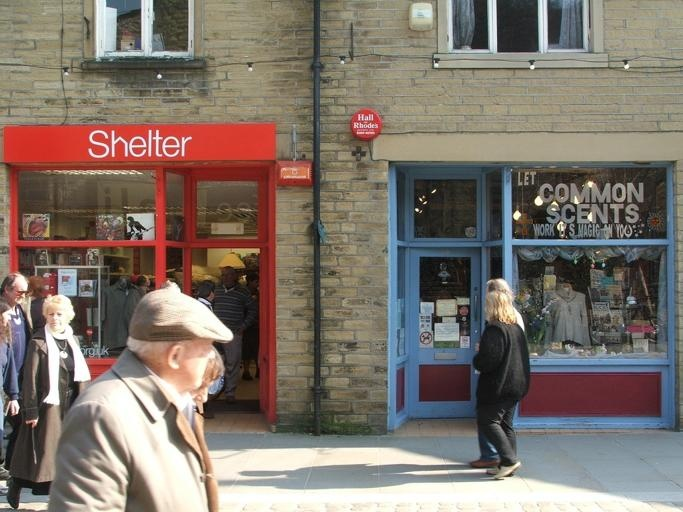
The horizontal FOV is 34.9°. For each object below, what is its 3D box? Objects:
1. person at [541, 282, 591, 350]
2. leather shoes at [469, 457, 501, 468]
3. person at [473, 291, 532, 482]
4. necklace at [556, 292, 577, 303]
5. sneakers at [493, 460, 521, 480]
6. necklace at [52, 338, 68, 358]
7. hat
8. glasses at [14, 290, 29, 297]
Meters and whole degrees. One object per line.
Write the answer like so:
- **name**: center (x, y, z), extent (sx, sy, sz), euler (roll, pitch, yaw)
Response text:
- **person**: center (2.968, 0.771, 14.190), extent (0.548, 0.859, 0.176), euler (-1, 5, 11)
- **leather shoes**: center (1.680, 2.461, 12.685), extent (0.347, 0.118, 0.112), euler (0, 4, 27)
- **person**: center (1.846, 1.499, 12.544), extent (0.525, 2.162, 0.535), euler (1, 6, 29)
- **necklace**: center (2.954, 0.569, 14.219), extent (0.272, 0.213, 0.134), euler (1, -7, 3)
- **sneakers**: center (1.876, 2.517, 12.481), extent (0.369, 0.155, 0.142), euler (-35, 21, 29)
- **necklace**: center (-3.114, 1.033, 11.878), extent (0.046, 0.203, 0.124), euler (-28, -12, 39)
- **hat**: center (-1.395, 0.510, 9.202), extent (0.734, 0.341, 0.487), euler (3, 1, -10)
- **glasses**: center (-3.711, 0.445, 12.431), extent (0.151, 0.042, 0.146), euler (-5, -7, 42)
